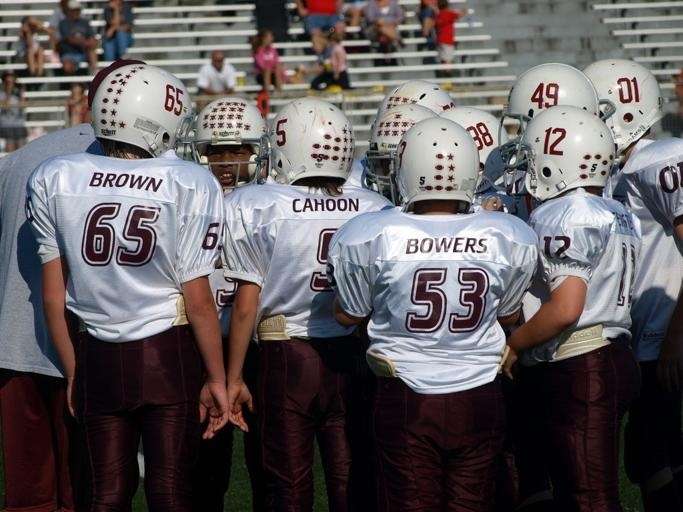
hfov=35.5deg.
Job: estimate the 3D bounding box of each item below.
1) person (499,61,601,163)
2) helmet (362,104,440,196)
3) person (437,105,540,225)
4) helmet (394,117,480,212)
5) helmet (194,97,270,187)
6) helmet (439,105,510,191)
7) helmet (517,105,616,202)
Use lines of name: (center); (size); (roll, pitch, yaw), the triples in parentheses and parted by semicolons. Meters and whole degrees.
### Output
person: (1.338, -0.900, 6.910); (0.626, 0.730, 0.639); (-8, -2, -14)
helmet: (0.295, -0.686, 6.681); (0.461, 0.608, 0.594); (-2, 14, -22)
person: (0.866, -0.641, 7.210); (0.729, 0.709, 0.551); (-12, 3, -37)
helmet: (0.560, -0.532, 5.983); (0.471, 0.547, 0.654); (0, 12, -1)
helmet: (-0.717, -0.727, 6.946); (0.444, 0.577, 0.563); (1, 15, 6)
helmet: (0.992, -0.734, 6.850); (0.445, 0.541, 0.524); (-1, -9, -32)
helmet: (1.330, -0.612, 6.250); (0.491, 0.552, 0.604); (-8, 11, -38)
